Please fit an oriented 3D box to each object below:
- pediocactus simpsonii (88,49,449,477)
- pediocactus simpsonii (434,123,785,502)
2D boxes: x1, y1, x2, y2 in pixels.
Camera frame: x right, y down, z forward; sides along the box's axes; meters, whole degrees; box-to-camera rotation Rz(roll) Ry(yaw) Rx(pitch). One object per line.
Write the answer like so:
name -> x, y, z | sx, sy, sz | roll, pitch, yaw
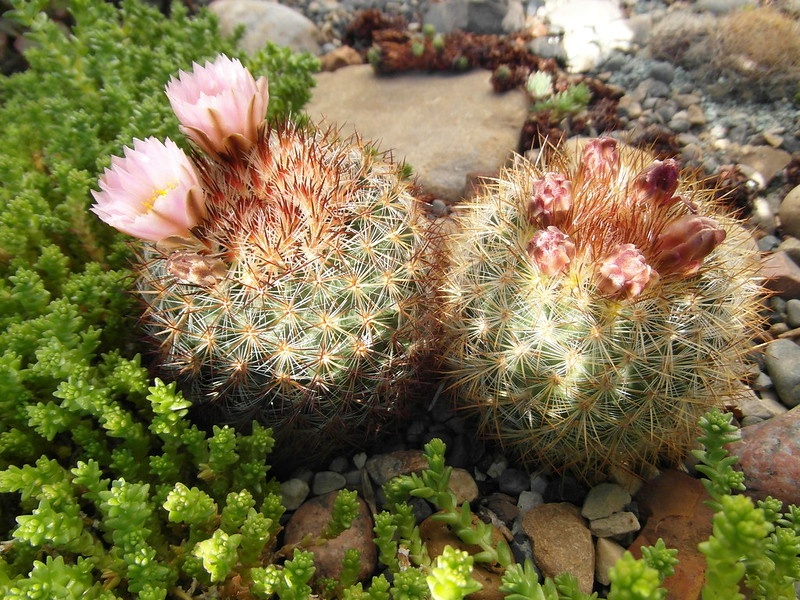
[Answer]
pediocactus simpsonii -> -0.485, -0.088, 3.085 | 1.332, 1.118, 1.527 | -17, 76, -1
pediocactus simpsonii -> 0.918, 0.108, 3.380 | 1.322, 1.147, 1.740 | 2, 80, -5
